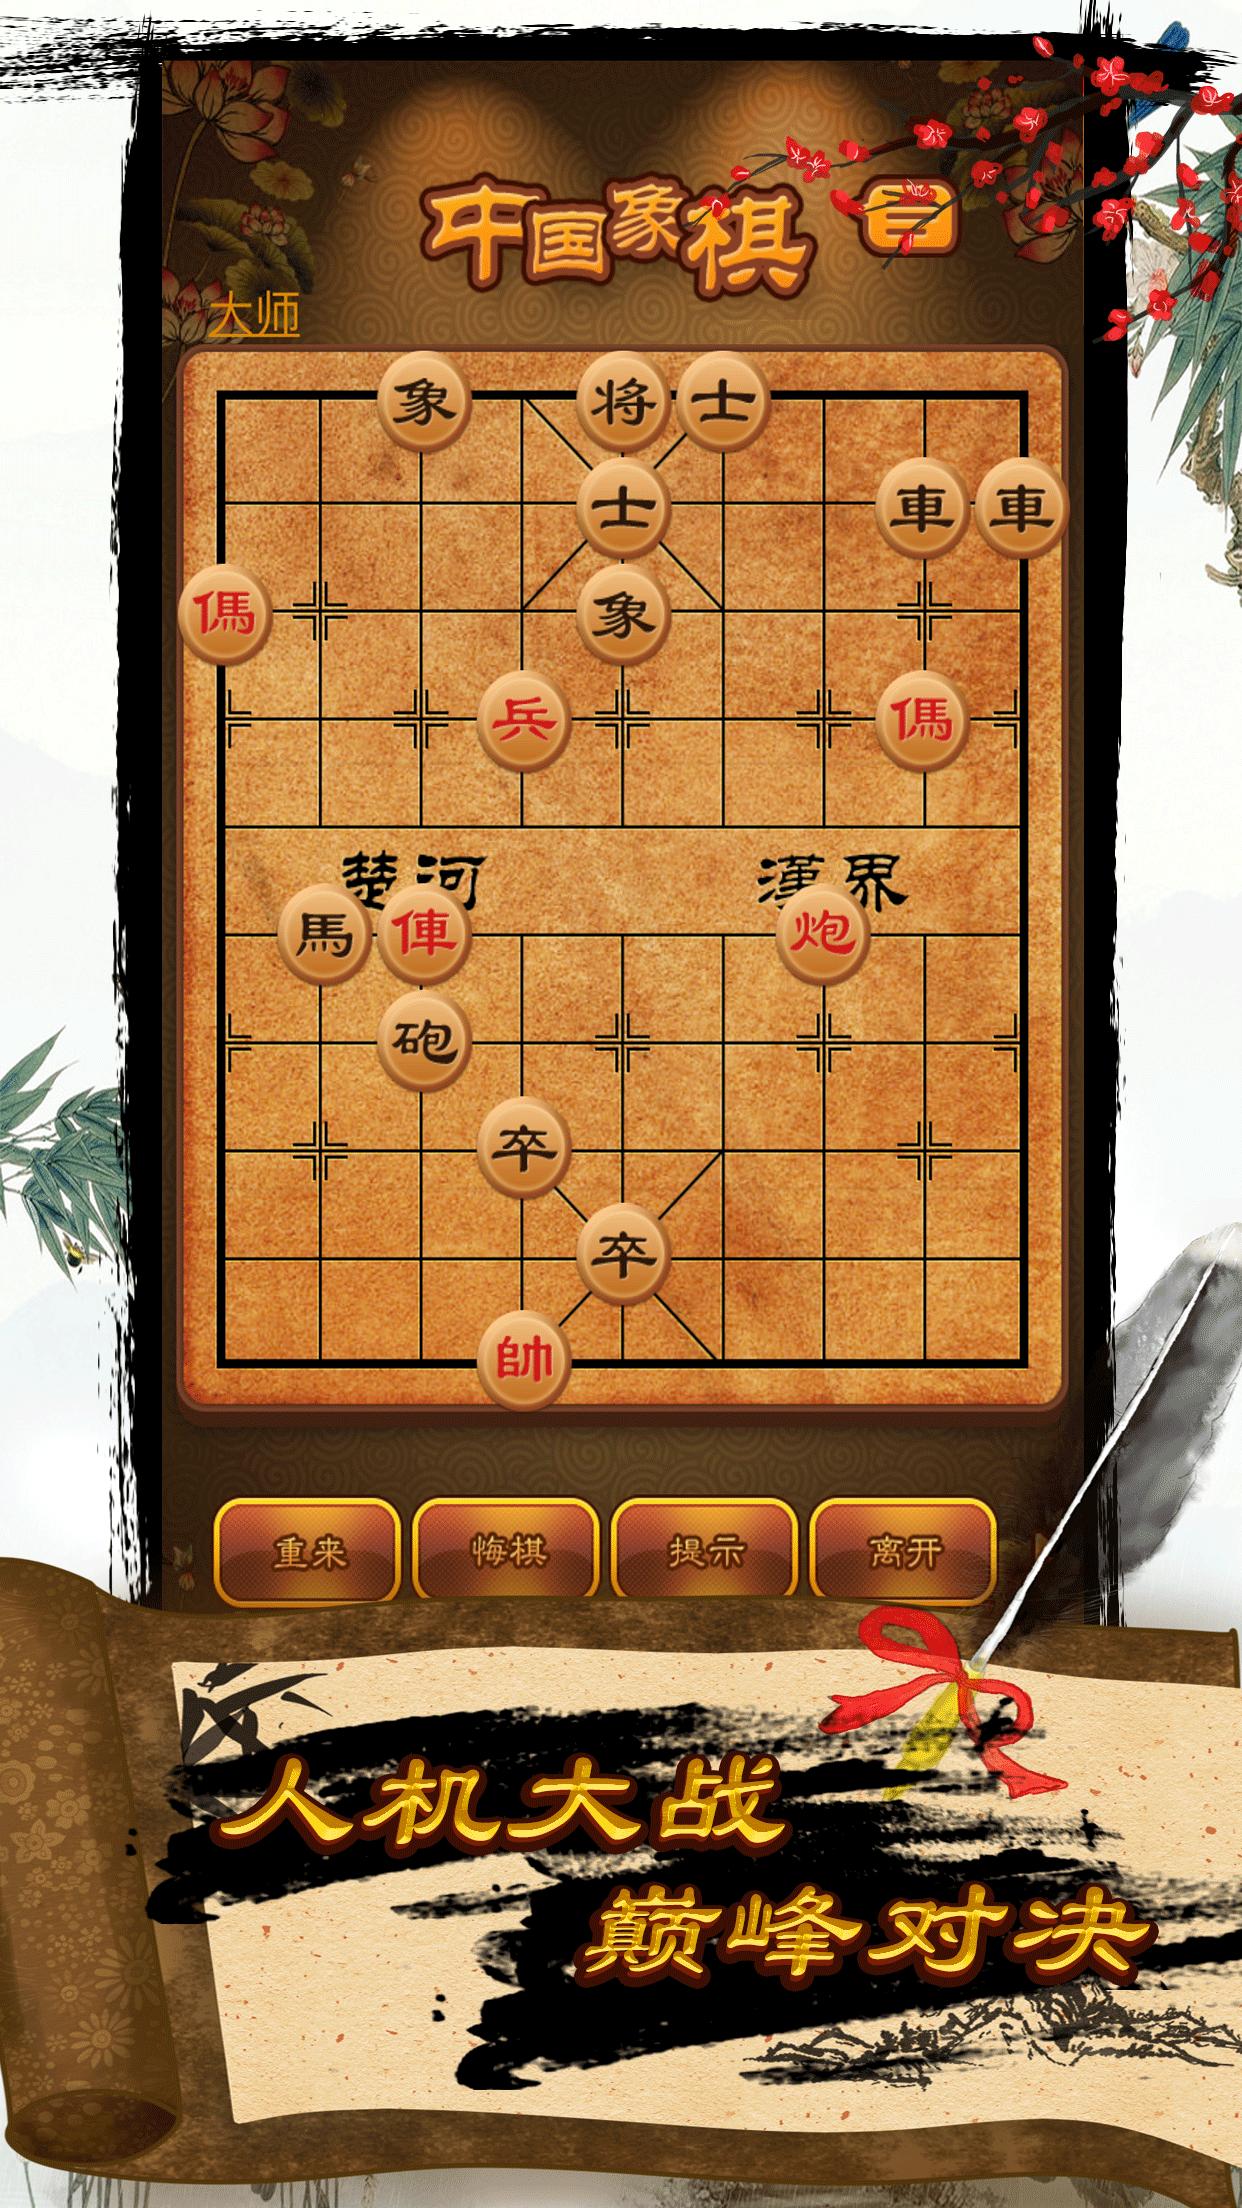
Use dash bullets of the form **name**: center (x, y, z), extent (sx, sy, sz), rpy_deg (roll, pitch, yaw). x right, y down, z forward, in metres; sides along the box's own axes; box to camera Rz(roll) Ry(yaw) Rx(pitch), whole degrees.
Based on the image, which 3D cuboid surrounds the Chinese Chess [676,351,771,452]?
- **Chinese Chess**: center (0.183, -1.253, 4.030), extent (0.164, 0.135, 0.113), rpy_deg (-24, 39, -7)

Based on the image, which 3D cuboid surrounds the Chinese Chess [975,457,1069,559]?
- **Chinese Chess**: center (0.714, -1.064, 4.043), extent (0.162, 0.139, 0.117), rpy_deg (-17, 39, 2)

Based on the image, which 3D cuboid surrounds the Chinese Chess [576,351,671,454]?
- **Chinese Chess**: center (0.007, -1.251, 4.039), extent (0.158, 0.137, 0.115), rpy_deg (-26, 40, -9)

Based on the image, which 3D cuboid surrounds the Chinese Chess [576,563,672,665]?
- **Chinese Chess**: center (0.009, -0.871, 4.032), extent (0.154, 0.146, 0.108), rpy_deg (-10, 40, 11)

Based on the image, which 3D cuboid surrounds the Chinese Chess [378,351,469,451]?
- **Chinese Chess**: center (-0.346, -1.250, 4.039), extent (0.157, 0.144, 0.110), rpy_deg (-14, 40, 6)

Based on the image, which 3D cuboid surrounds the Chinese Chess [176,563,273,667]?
- **Chinese Chess**: center (-0.703, -0.865, 3.975), extent (0.180, 0.163, 0.041), rpy_deg (1, 2, 1)

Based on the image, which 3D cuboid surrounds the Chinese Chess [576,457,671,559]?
- **Chinese Chess**: center (0.007, -1.058, 4.032), extent (0.160, 0.145, 0.111), rpy_deg (-23, 39, -5)
